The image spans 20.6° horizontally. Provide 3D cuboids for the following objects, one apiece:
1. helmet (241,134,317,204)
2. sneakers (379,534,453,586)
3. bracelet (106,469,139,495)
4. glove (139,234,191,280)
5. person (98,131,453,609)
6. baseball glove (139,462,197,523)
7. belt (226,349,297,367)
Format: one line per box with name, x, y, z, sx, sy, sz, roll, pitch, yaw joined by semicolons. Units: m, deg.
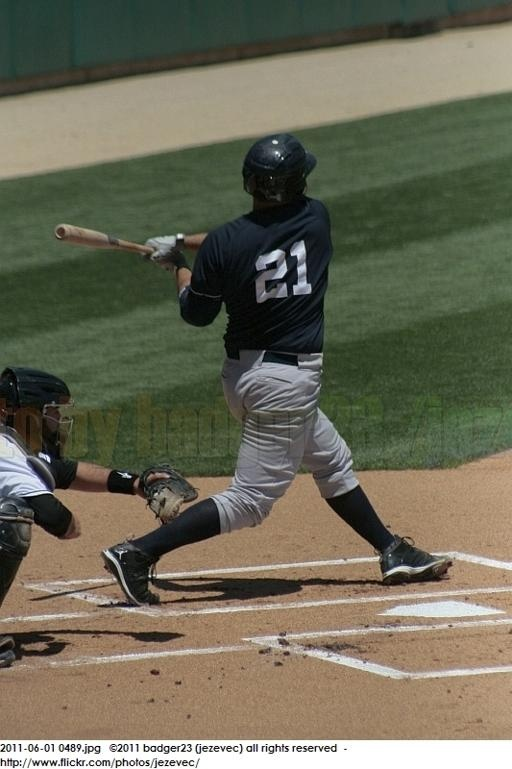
helmet;0.093;-0.891;5.750;0.227;0.223;0.307;16;31;32
sneakers;0.668;0.773;6.184;0.374;0.225;0.150;-5;-12;-13
bracelet;-0.559;0.411;5.869;0.120;0.091;0.053;6;-29;-8
glove;-0.391;-0.569;6.118;0.153;0.091;0.185;10;-3;-31
person;0.028;-0.054;5.792;1.391;1.920;0.335;-5;12;-22
baseball glove;-0.372;0.466;5.800;0.179;0.083;0.249;-26;49;-19
belt;0.007;-0.111;5.718;0.308;0.062;0.085;3;11;20
